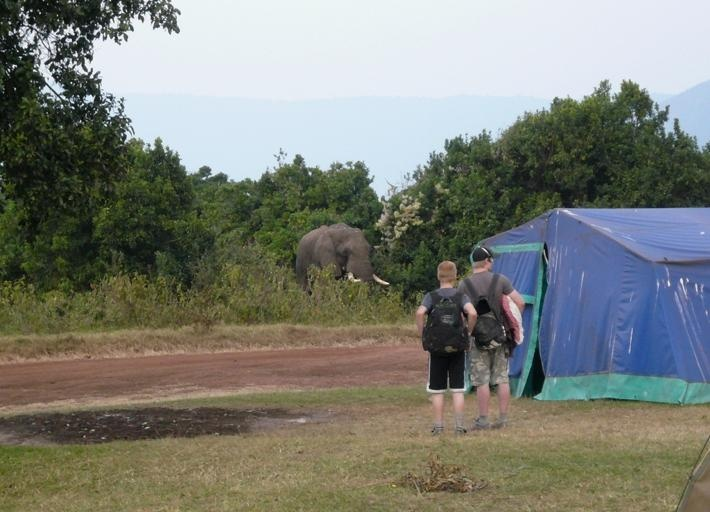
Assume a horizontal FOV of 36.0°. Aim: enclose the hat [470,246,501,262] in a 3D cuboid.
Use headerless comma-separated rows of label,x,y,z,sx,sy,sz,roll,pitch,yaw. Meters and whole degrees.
hat,2.263,-0.013,18.924,0.410,0.288,0.298,-22,18,-17
